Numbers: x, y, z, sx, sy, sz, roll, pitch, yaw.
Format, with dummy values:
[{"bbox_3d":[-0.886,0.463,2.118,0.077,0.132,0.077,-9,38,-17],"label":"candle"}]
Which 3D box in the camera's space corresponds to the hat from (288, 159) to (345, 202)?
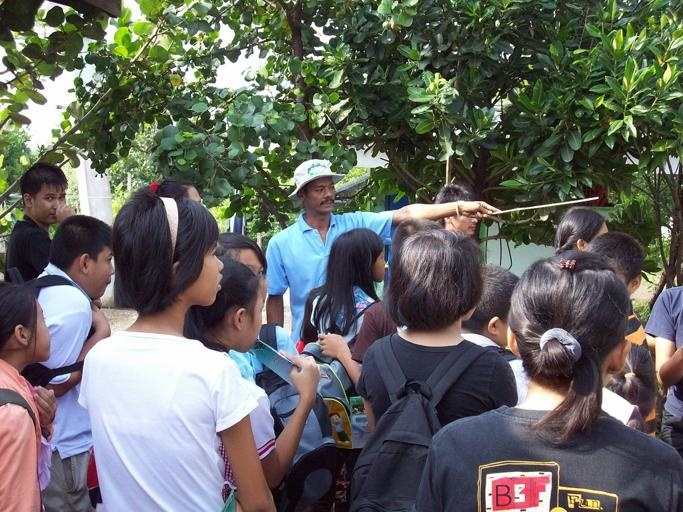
[{"bbox_3d":[-0.217,-0.571,4.241,0.238,0.144,0.301,-27,-4,-27],"label":"hat"}]
